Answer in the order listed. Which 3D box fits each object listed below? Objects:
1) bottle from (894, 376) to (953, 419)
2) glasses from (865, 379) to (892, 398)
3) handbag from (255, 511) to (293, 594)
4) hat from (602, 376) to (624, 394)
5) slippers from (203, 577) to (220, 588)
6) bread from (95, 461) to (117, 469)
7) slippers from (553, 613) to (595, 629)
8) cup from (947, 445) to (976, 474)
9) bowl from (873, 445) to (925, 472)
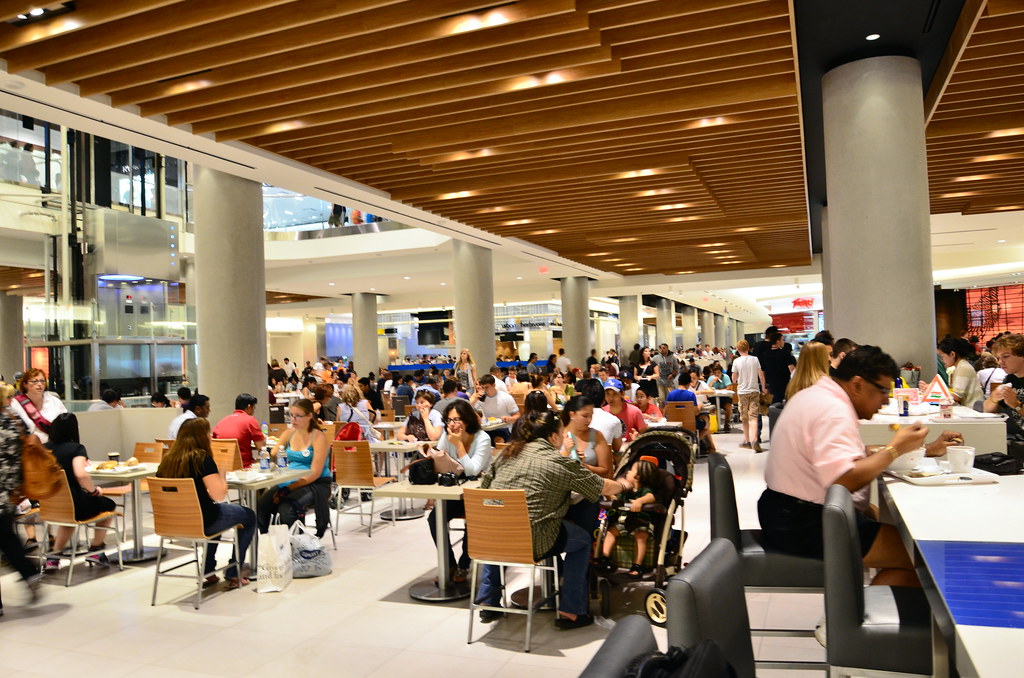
[{"bbox_3d":[3.590,0.513,6.447,0.451,0.251,0.442,-2,-3,0],"label":"bottle"},{"bbox_3d":[2.343,0.310,4.700,0.046,0.134,0.146,-30,-17,25],"label":"glasses"},{"bbox_3d":[-2.277,2.157,7.322,0.302,0.613,0.721,-5,-14,-2],"label":"handbag"},{"bbox_3d":[1.350,0.613,9.841,0.206,0.148,0.309,-6,-14,21],"label":"hat"},{"bbox_3d":[-2.921,2.364,7.209,0.112,0.089,0.051,4,-20,4],"label":"slippers"},{"bbox_3d":[-4.223,1.323,7.741,0.128,0.035,0.116,-1,-2,-4],"label":"bread"},{"bbox_3d":[0.495,2.286,6.049,0.345,0.112,0.115,-1,-5,-8],"label":"slippers"},{"bbox_3d":[2.777,0.740,4.586,0.156,0.123,0.177,1,0,3],"label":"cup"},{"bbox_3d":[2.547,0.785,4.785,0.260,0.102,0.271,-3,-5,0],"label":"bowl"}]
